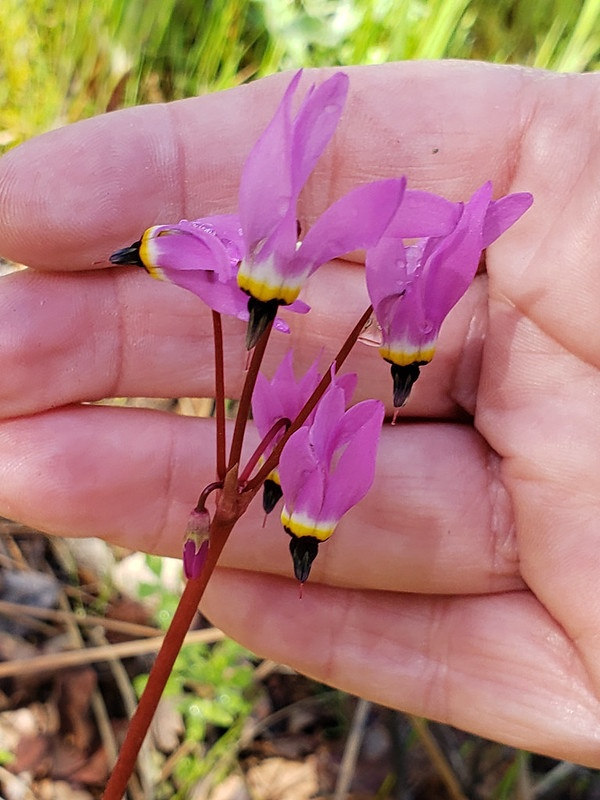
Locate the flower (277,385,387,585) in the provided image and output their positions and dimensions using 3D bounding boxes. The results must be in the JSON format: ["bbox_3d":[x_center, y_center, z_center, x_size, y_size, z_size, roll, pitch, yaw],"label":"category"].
[{"bbox_3d":[0.026,0.083,0.861,0.084,0.164,0.198,29,60,23],"label":"flower"}]

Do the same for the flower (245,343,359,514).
[{"bbox_3d":[-0.041,0.032,0.984,0.174,0.085,0.177,29,85,-15],"label":"flower"}]
